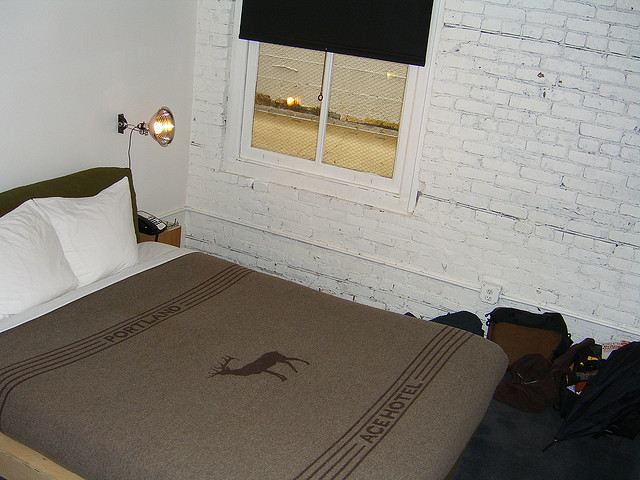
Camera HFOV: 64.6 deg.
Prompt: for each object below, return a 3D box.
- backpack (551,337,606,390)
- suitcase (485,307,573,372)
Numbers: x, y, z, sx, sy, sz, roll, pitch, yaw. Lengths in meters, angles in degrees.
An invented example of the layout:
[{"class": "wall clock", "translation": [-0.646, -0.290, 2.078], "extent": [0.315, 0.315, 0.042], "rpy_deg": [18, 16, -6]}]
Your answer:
[{"class": "backpack", "translation": [1.800, 0.858, 3.513], "extent": [0.373, 0.133, 0.274], "rpy_deg": [-21, 25, -22]}, {"class": "suitcase", "translation": [1.674, 0.718, 3.980], "extent": [0.754, 0.231, 0.759], "rpy_deg": [-5, 1, -22]}]
